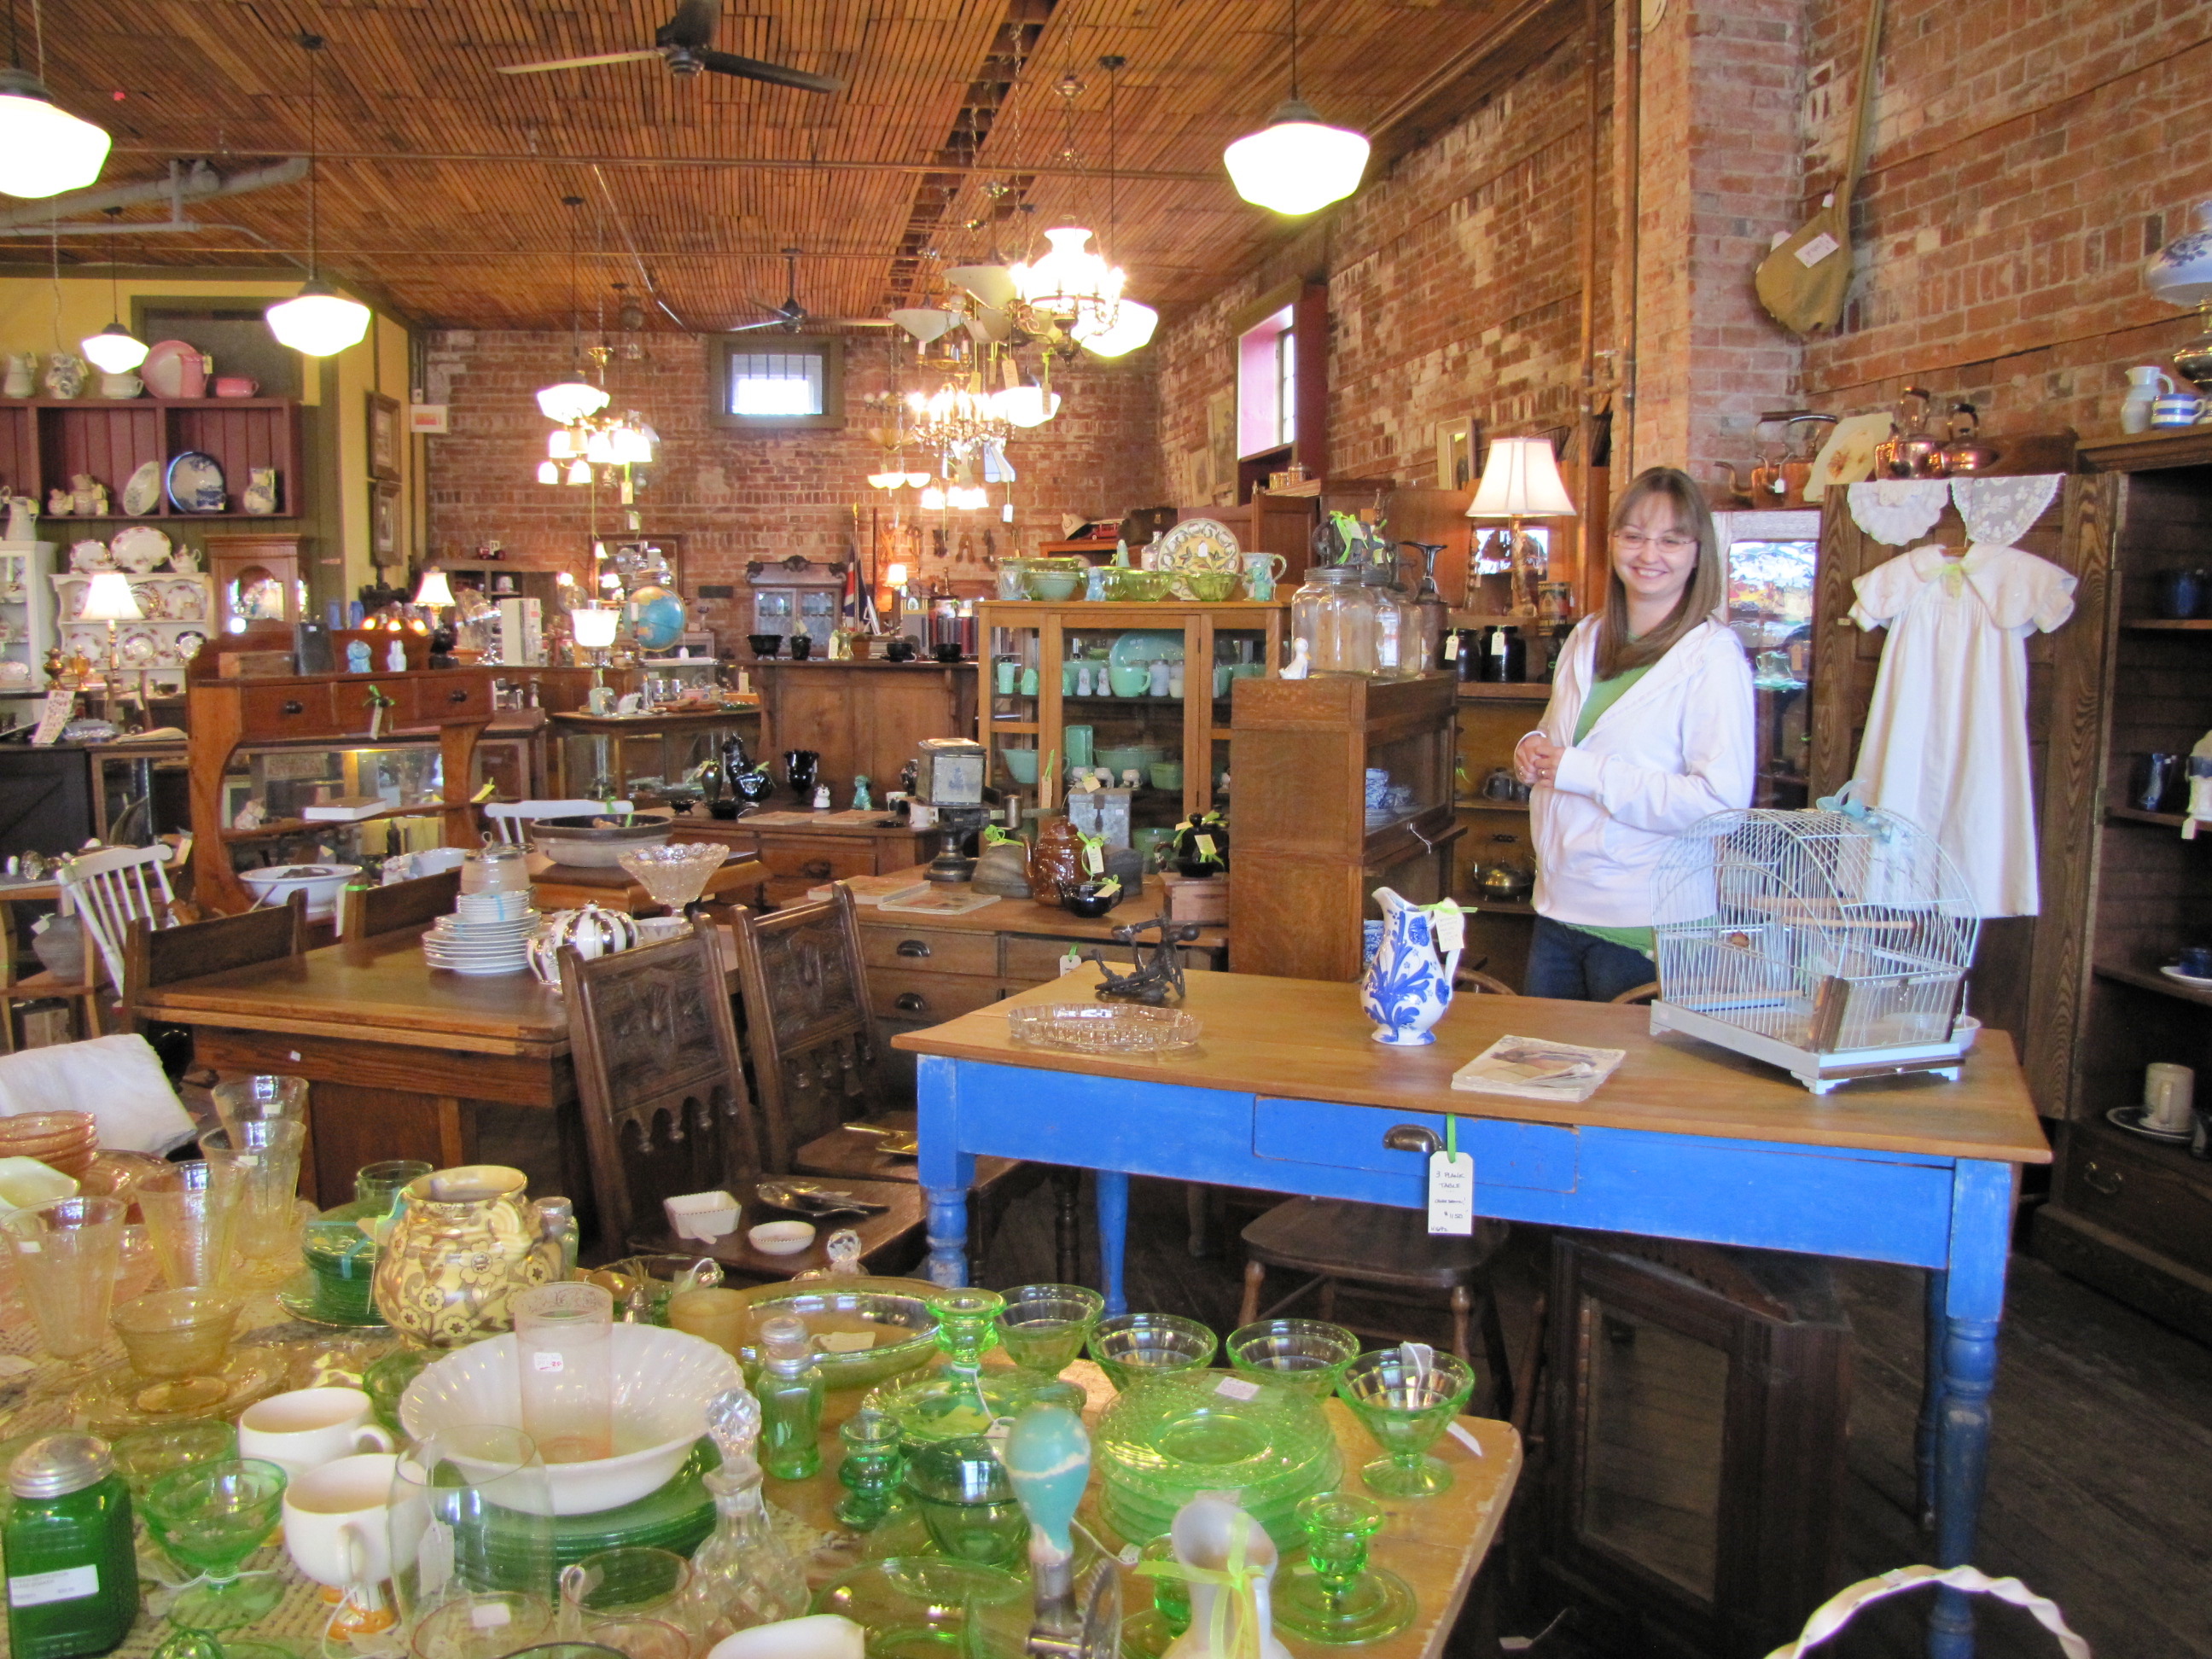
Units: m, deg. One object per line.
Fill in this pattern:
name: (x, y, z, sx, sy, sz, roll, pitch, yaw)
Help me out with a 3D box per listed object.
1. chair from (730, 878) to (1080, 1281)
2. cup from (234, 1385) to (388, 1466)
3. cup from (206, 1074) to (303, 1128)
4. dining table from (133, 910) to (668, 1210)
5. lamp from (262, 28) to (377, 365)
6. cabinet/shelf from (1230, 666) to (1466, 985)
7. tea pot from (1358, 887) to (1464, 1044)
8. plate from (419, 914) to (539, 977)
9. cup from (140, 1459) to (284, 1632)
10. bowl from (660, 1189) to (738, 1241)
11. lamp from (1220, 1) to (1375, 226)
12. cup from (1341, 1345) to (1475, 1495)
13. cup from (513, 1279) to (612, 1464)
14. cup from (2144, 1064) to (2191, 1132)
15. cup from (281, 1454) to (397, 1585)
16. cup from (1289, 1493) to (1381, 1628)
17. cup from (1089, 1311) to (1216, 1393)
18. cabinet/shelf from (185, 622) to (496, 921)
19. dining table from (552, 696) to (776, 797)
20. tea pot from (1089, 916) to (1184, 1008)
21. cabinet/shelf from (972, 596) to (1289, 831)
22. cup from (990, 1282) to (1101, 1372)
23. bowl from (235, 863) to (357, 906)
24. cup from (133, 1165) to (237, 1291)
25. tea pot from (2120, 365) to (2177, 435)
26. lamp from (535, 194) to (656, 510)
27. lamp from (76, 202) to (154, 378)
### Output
chair: (-0.418, 0.653, 3.613, 0.697, 0.900, 0.611, 2, 5, 8)
cup: (-0.873, 0.663, 1.828, 0.132, 0.085, 0.095, 4, -2, -7)
cup: (-1.228, 0.391, 2.426, 0.114, 0.069, 0.106, 0, -3, 0)
dining table: (-1.529, 0.480, 3.698, 0.742, 0.657, 0.729, 1, 9, 9)
lamp: (-3.350, -2.625, 6.739, 0.457, 1.387, 0.445, -12, 16, -26)
cabinet/shelf: (0.666, 0.020, 4.532, 0.426, 0.853, 0.988, 2, 8, 25)
tea pot: (0.571, 0.265, 3.085, 0.302, 0.338, 0.190, -1, 4, 9)
plate: (-1.465, 0.253, 3.808, 0.181, 0.072, 0.169, 0, 3, -2)
cup: (-0.936, 0.738, 1.730, 0.197, 0.120, 0.115, 2, 8, 27)
bowl: (-0.755, 0.719, 3.069, 0.118, 0.054, 0.086, -2, 7, 6)
lamp: (0.604, -2.181, 5.253, 0.419, 0.316, 0.333, -3, 7, -10)
cup: (0.363, 0.720, 1.978, 0.178, 0.137, 0.174, 8, -1, 0)
cup: (-0.592, 0.593, 1.808, 0.107, 0.165, 0.181, -4, 8, -19)
cup: (2.759, 0.692, 4.269, 0.108, 0.170, 0.117, -2, 7, 0)
cup: (-0.762, 0.716, 1.660, 0.127, 0.079, 0.178, -1, 6, -27)
cup: (0.249, 0.789, 1.774, 0.113, 0.066, 0.105, -2, 1, 0)
cup: (0.055, 0.652, 2.037, 0.178, 0.070, 0.166, 0, 6, 0)
cabinet/shelf: (-3.002, -0.297, 6.595, 0.417, 0.884, 1.216, 4, 9, 24)
dining table: (-2.134, -0.376, 7.802, 0.609, 0.376, 0.819, 5, 9, 42)
tea pot: (0.073, 0.258, 3.209, 0.201, 0.166, 0.187, 3, -6, 0)
cabinet/shelf: (0.112, -0.357, 4.994, 0.861, 0.704, 0.280, 0, 2, 11)
cup: (-0.068, 0.613, 2.081, 0.125, 0.087, 0.109, 0, 2, -3)
bowl: (-2.957, 0.190, 6.060, 0.428, 0.126, 0.428, 0, 3, 0)
cup: (-1.189, 0.523, 2.115, 0.142, 0.136, 0.133, 0, -2, 0)
tea pot: (2.683, -1.110, 4.228, 0.112, 0.191, 0.282, 3, 8, 30)
lamp: (-3.624, -3.212, 11.910, 0.967, 1.720, 4.745, -4, 7, -18)
lamp: (-6.173, -3.255, 10.258, 0.331, 1.036, 2.761, -6, 8, -30)
